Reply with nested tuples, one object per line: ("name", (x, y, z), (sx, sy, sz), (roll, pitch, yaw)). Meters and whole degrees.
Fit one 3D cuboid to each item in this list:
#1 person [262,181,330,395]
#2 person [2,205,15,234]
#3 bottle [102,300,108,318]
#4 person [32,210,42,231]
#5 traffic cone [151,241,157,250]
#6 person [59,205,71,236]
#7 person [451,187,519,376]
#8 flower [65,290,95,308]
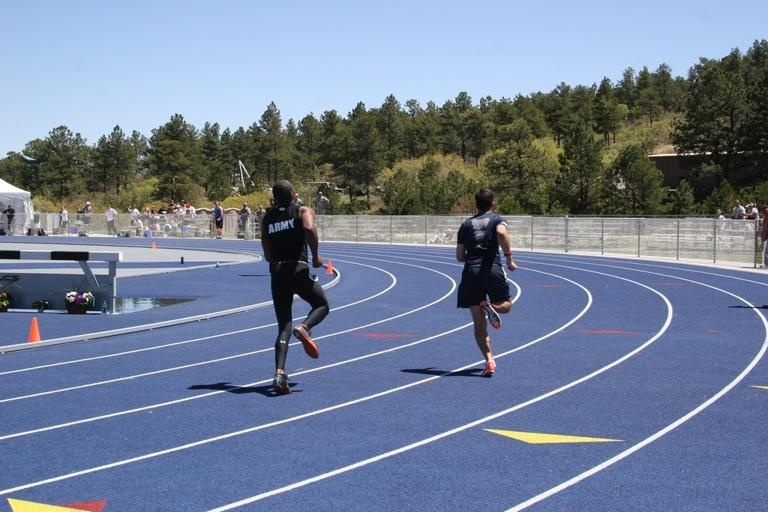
("person", (-1.137, 0.377, 9.686), (0.781, 2.660, 1.165), (-2, 9, -9))
("person", (-21.294, -1.957, 43.150), (0.568, 1.541, 0.270), (-5, 10, -27))
("bottle", (-5.332, 0.978, 14.468), (0.111, 0.217, 0.288), (-4, 10, -21))
("person", (-20.400, -2.015, 44.650), (0.415, 0.866, 0.797), (-4, 10, -21))
("traffic cone", (-10.480, -0.463, 34.583), (0.304, 0.295, 0.320), (-6, -9, -23))
("person", (-19.143, -2.023, 45.551), (0.600, 1.467, 1.593), (-4, 10, -23))
("person", (1.363, 0.376, 10.227), (0.776, 2.517, 0.602), (1, 9, 8))
("flower", (-5.832, 0.825, 14.608), (0.536, 0.252, 0.257), (2, 9, 10))
